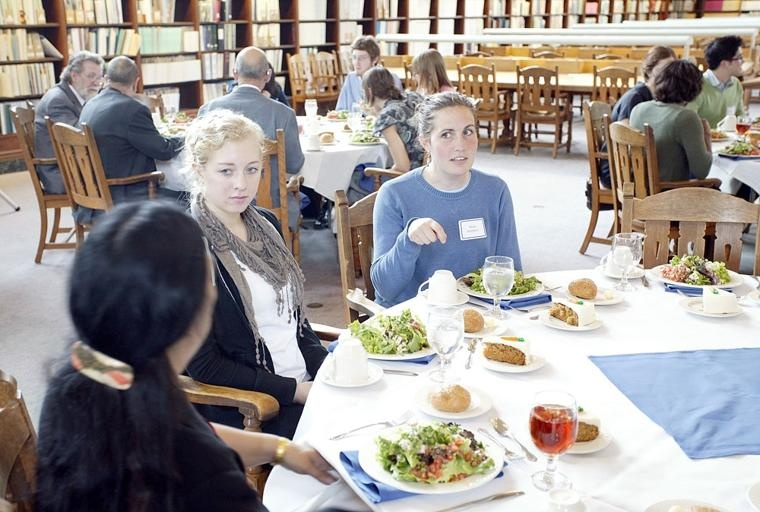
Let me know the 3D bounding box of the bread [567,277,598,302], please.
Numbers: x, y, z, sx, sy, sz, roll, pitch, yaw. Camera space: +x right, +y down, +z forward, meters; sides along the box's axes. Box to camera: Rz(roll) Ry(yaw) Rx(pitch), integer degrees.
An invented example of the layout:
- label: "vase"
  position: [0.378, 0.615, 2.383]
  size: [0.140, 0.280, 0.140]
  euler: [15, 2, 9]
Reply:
- label: "bread"
  position: [0.693, 0.107, 1.836]
  size: [0.075, 0.048, 0.077]
  euler: [9, 10, 44]

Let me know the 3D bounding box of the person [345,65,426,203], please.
- label: "person"
  position: [0.037, -0.988, 4.613]
  size: [0.689, 1.209, 0.514]
  euler: [26, 48, 24]

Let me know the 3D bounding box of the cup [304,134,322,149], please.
- label: "cup"
  position: [-0.520, -0.904, 4.257]
  size: [0.126, 0.134, 0.133]
  euler: [-3, 30, 1]

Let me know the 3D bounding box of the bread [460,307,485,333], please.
- label: "bread"
  position: [0.284, 0.196, 1.630]
  size: [0.075, 0.047, 0.075]
  euler: [2, 21, 3]

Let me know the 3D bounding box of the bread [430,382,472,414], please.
- label: "bread"
  position: [0.169, 0.338, 1.299]
  size: [0.100, 0.052, 0.071]
  euler: [1, 14, 10]

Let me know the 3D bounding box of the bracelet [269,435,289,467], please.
- label: "bracelet"
  position: [-0.246, 0.483, 1.337]
  size: [0.042, 0.058, 0.058]
  euler: [13, -1, 18]

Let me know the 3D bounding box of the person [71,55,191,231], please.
- label: "person"
  position: [-1.947, -0.801, 4.378]
  size: [0.728, 1.499, 0.903]
  euler: [19, 22, 30]

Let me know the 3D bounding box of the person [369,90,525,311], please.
- label: "person"
  position: [0.297, -0.084, 2.235]
  size: [0.661, 1.094, 0.618]
  euler: [-5, 17, -10]
